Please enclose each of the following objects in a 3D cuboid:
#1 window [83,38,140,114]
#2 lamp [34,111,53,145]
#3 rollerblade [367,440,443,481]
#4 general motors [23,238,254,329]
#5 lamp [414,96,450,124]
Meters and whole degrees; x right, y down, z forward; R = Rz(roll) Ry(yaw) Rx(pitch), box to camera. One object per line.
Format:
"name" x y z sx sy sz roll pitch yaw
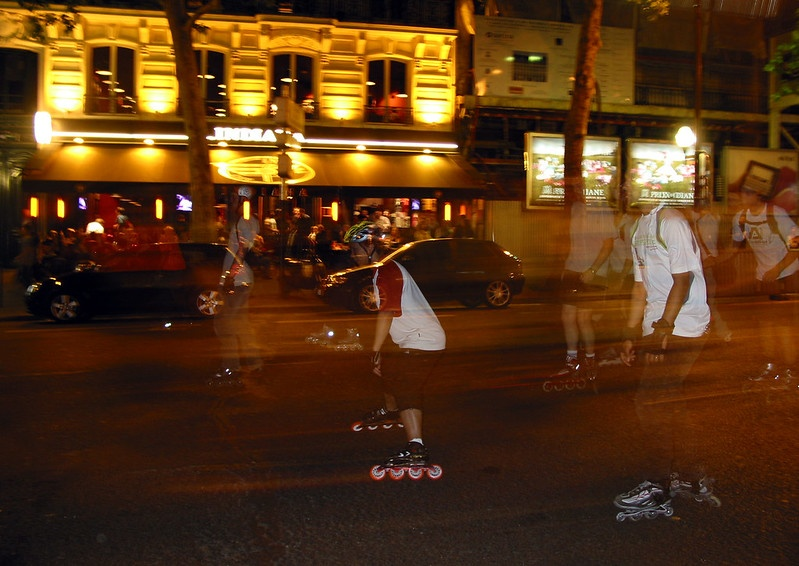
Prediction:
"window" -9.976 -6.981 23.041 1.687 2.304 0.641 -4 12 -19
"lamp" -11.623 -5.013 21.697 0.505 1.010 0.918 -6 11 -27
"rollerblade" 0.072 1.625 6.129 0.706 0.260 0.347 1 -5 -3
"general motors" -5.404 -0.041 15.510 5.729 1.421 2.242 -2 3 14
"lamp" 1.228 -6.506 25.351 2.243 1.066 0.979 -1 20 -7
